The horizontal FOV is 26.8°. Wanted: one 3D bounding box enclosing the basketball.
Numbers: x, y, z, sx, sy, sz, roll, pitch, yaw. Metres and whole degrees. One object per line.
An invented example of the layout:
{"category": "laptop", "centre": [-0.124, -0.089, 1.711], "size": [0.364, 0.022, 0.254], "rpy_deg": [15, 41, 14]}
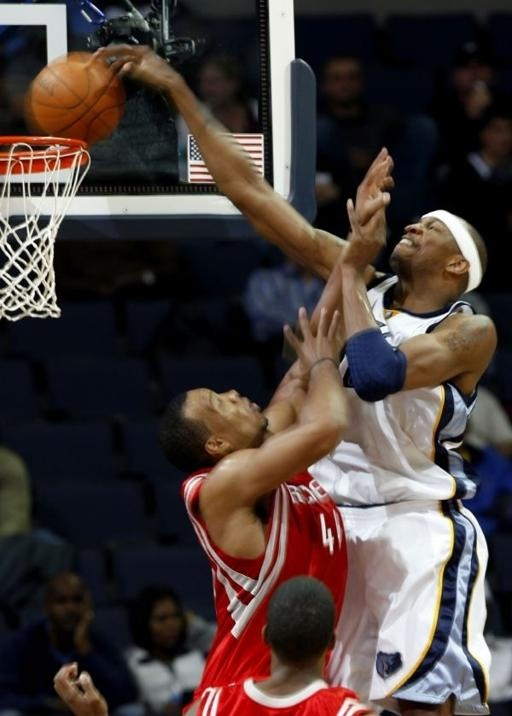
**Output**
{"category": "basketball", "centre": [-0.524, -0.758, 3.153], "size": [0.218, 0.257, 0.229], "rpy_deg": [44, 30, 23]}
